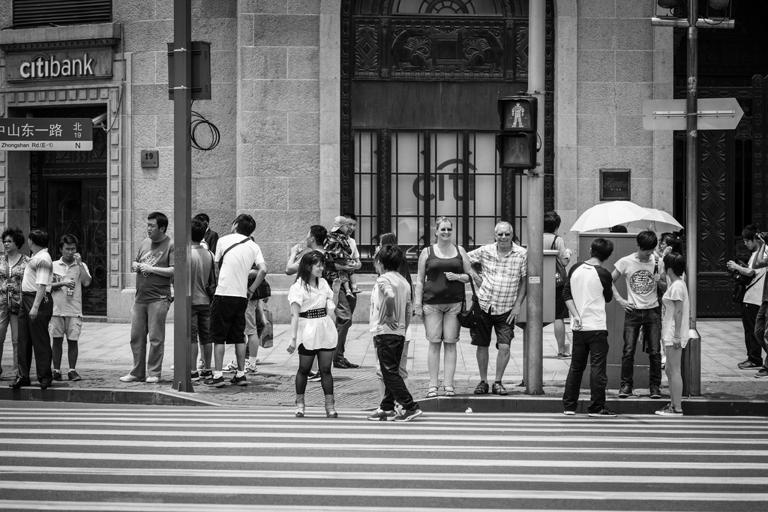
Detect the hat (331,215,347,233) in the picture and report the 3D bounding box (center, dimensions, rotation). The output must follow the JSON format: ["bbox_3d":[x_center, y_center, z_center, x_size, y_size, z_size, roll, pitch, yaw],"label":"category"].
[{"bbox_3d":[-0.796,-0.566,22.538,0.304,0.236,0.244,1,8,-4],"label":"hat"}]

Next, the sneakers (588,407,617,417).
[{"bbox_3d":[3.348,2.399,19.806,0.472,0.176,0.156,0,2,-5],"label":"sneakers"}]

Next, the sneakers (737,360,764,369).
[{"bbox_3d":[6.417,1.913,22.495,0.423,0.170,0.152,5,-4,-2],"label":"sneakers"}]

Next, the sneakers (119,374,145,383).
[{"bbox_3d":[-4.159,2.008,21.170,0.348,0.143,0.147,5,-2,-3],"label":"sneakers"}]

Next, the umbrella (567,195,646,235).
[{"bbox_3d":[3.818,-0.664,21.670,1.098,0.523,0.967,0,-1,5],"label":"umbrella"}]

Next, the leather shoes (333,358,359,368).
[{"bbox_3d":[-0.639,1.878,22.598,0.167,0.203,0.505,2,0,42],"label":"leather shoes"}]

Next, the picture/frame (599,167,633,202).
[{"bbox_3d":[4.873,-1.527,27.087,0.958,0.918,0.071,1,-4,-2],"label":"picture/frame"}]

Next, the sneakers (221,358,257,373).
[{"bbox_3d":[-2.507,1.875,21.899,0.654,0.271,0.234,0,-1,6],"label":"sneakers"}]

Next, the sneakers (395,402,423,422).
[{"bbox_3d":[0.353,2.378,19.346,0.478,0.210,0.179,-4,2,-4],"label":"sneakers"}]

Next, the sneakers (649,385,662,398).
[{"bbox_3d":[4.291,2.144,20.344,0.165,0.160,0.413,0,-7,6],"label":"sneakers"}]

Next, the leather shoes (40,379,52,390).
[{"bbox_3d":[-5.430,2.057,20.681,0.198,0.167,0.164,1,-1,-31],"label":"leather shoes"}]

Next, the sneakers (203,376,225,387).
[{"bbox_3d":[-2.803,2.054,21.088,0.394,0.171,0.146,4,8,27],"label":"sneakers"}]

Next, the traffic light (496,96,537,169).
[{"bbox_3d":[2.119,-1.958,20.297,0.630,1.202,0.414,0,-1,5],"label":"traffic light"}]

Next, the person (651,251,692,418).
[{"bbox_3d":[4.446,1.213,19.852,0.468,2.496,0.397,0,-1,12],"label":"person"}]

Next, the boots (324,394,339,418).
[{"bbox_3d":[-0.791,2.260,19.434,0.182,0.370,0.261,0,-1,2],"label":"boots"}]

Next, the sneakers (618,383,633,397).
[{"bbox_3d":[3.825,2.131,20.375,0.214,0.201,0.344,0,-1,14],"label":"sneakers"}]

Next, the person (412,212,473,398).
[{"bbox_3d":[0.920,0.811,20.295,0.887,2.818,0.393,0,-1,3],"label":"person"}]

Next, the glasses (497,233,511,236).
[{"bbox_3d":[1.907,-0.327,20.440,0.200,0.083,0.077,0,-1,0],"label":"glasses"}]

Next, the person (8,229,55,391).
[{"bbox_3d":[-5.698,0.860,20.923,0.645,2.567,0.636,0,-1,-4],"label":"person"}]

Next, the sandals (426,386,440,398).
[{"bbox_3d":[0.777,2.154,20.351,0.136,0.130,0.368,0,-9,4],"label":"sandals"}]

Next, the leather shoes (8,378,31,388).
[{"bbox_3d":[-5.889,2.052,20.756,0.350,0.144,0.126,5,2,-26],"label":"leather shoes"}]

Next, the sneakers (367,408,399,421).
[{"bbox_3d":[-0.007,2.384,19.399,0.498,0.216,0.175,3,-1,-7],"label":"sneakers"}]

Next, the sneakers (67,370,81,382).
[{"bbox_3d":[-5.141,1.977,21.298,0.228,0.142,0.127,-4,-3,33],"label":"sneakers"}]

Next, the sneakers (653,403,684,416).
[{"bbox_3d":[4.413,2.384,19.923,0.437,0.182,0.169,1,-4,3],"label":"sneakers"}]

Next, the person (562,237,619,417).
[{"bbox_3d":[3.155,1.093,19.843,0.770,2.728,0.381,0,-1,9],"label":"person"}]

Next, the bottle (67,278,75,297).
[{"bbox_3d":[-5.216,0.530,21.424,0.037,0.262,0.133,0,-1,35],"label":"bottle"}]

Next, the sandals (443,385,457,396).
[{"bbox_3d":[1.036,2.128,20.266,0.175,0.168,0.103,3,-7,-10],"label":"sandals"}]

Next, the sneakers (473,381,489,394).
[{"bbox_3d":[1.525,2.109,20.508,0.116,0.148,0.337,1,-2,-30],"label":"sneakers"}]

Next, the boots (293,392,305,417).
[{"bbox_3d":[-1.259,2.250,19.379,0.158,0.346,0.111,0,-1,-27],"label":"boots"}]
